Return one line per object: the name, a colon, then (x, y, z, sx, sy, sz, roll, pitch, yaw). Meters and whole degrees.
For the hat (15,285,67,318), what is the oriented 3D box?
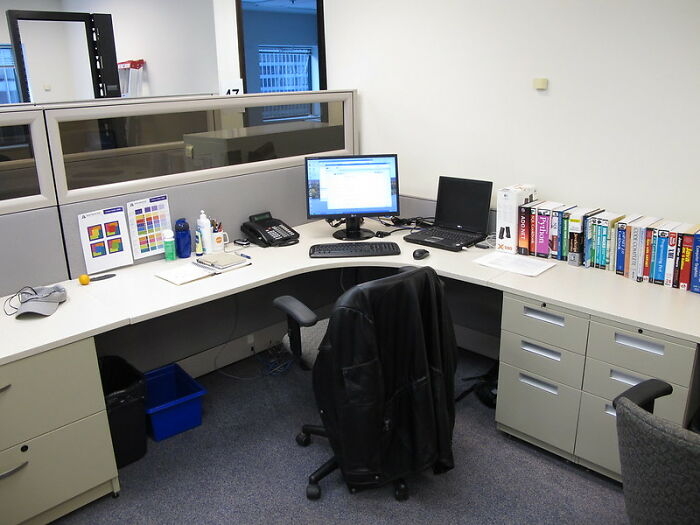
hat: (-1.402, 0.174, 2.408, 0.210, 0.072, 0.245, -13, 21, -30)

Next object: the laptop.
laptop: (0.570, -0.292, 3.156, 0.447, 0.438, 0.502, -20, 27, -39)

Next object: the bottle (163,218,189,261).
bottle: (-0.958, -0.128, 2.907, 0.084, 0.230, 0.163, 19, 25, 31)

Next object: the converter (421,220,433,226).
converter: (0.483, -0.249, 3.343, 0.030, 0.034, 0.092, 4, 12, 24)

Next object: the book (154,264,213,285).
book: (-0.846, 0.059, 2.722, 0.139, 0.028, 0.151, 16, 27, 32)

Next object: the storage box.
storage box: (-0.967, 0.748, 2.864, 0.308, 0.254, 0.370, -9, 17, -35)

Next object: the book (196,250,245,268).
book: (-0.674, -0.013, 2.844, 0.135, 0.039, 0.143, 12, 18, 35)

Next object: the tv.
tv: (0.013, -0.397, 3.202, 0.489, 0.451, 0.230, -1, 12, 0)
